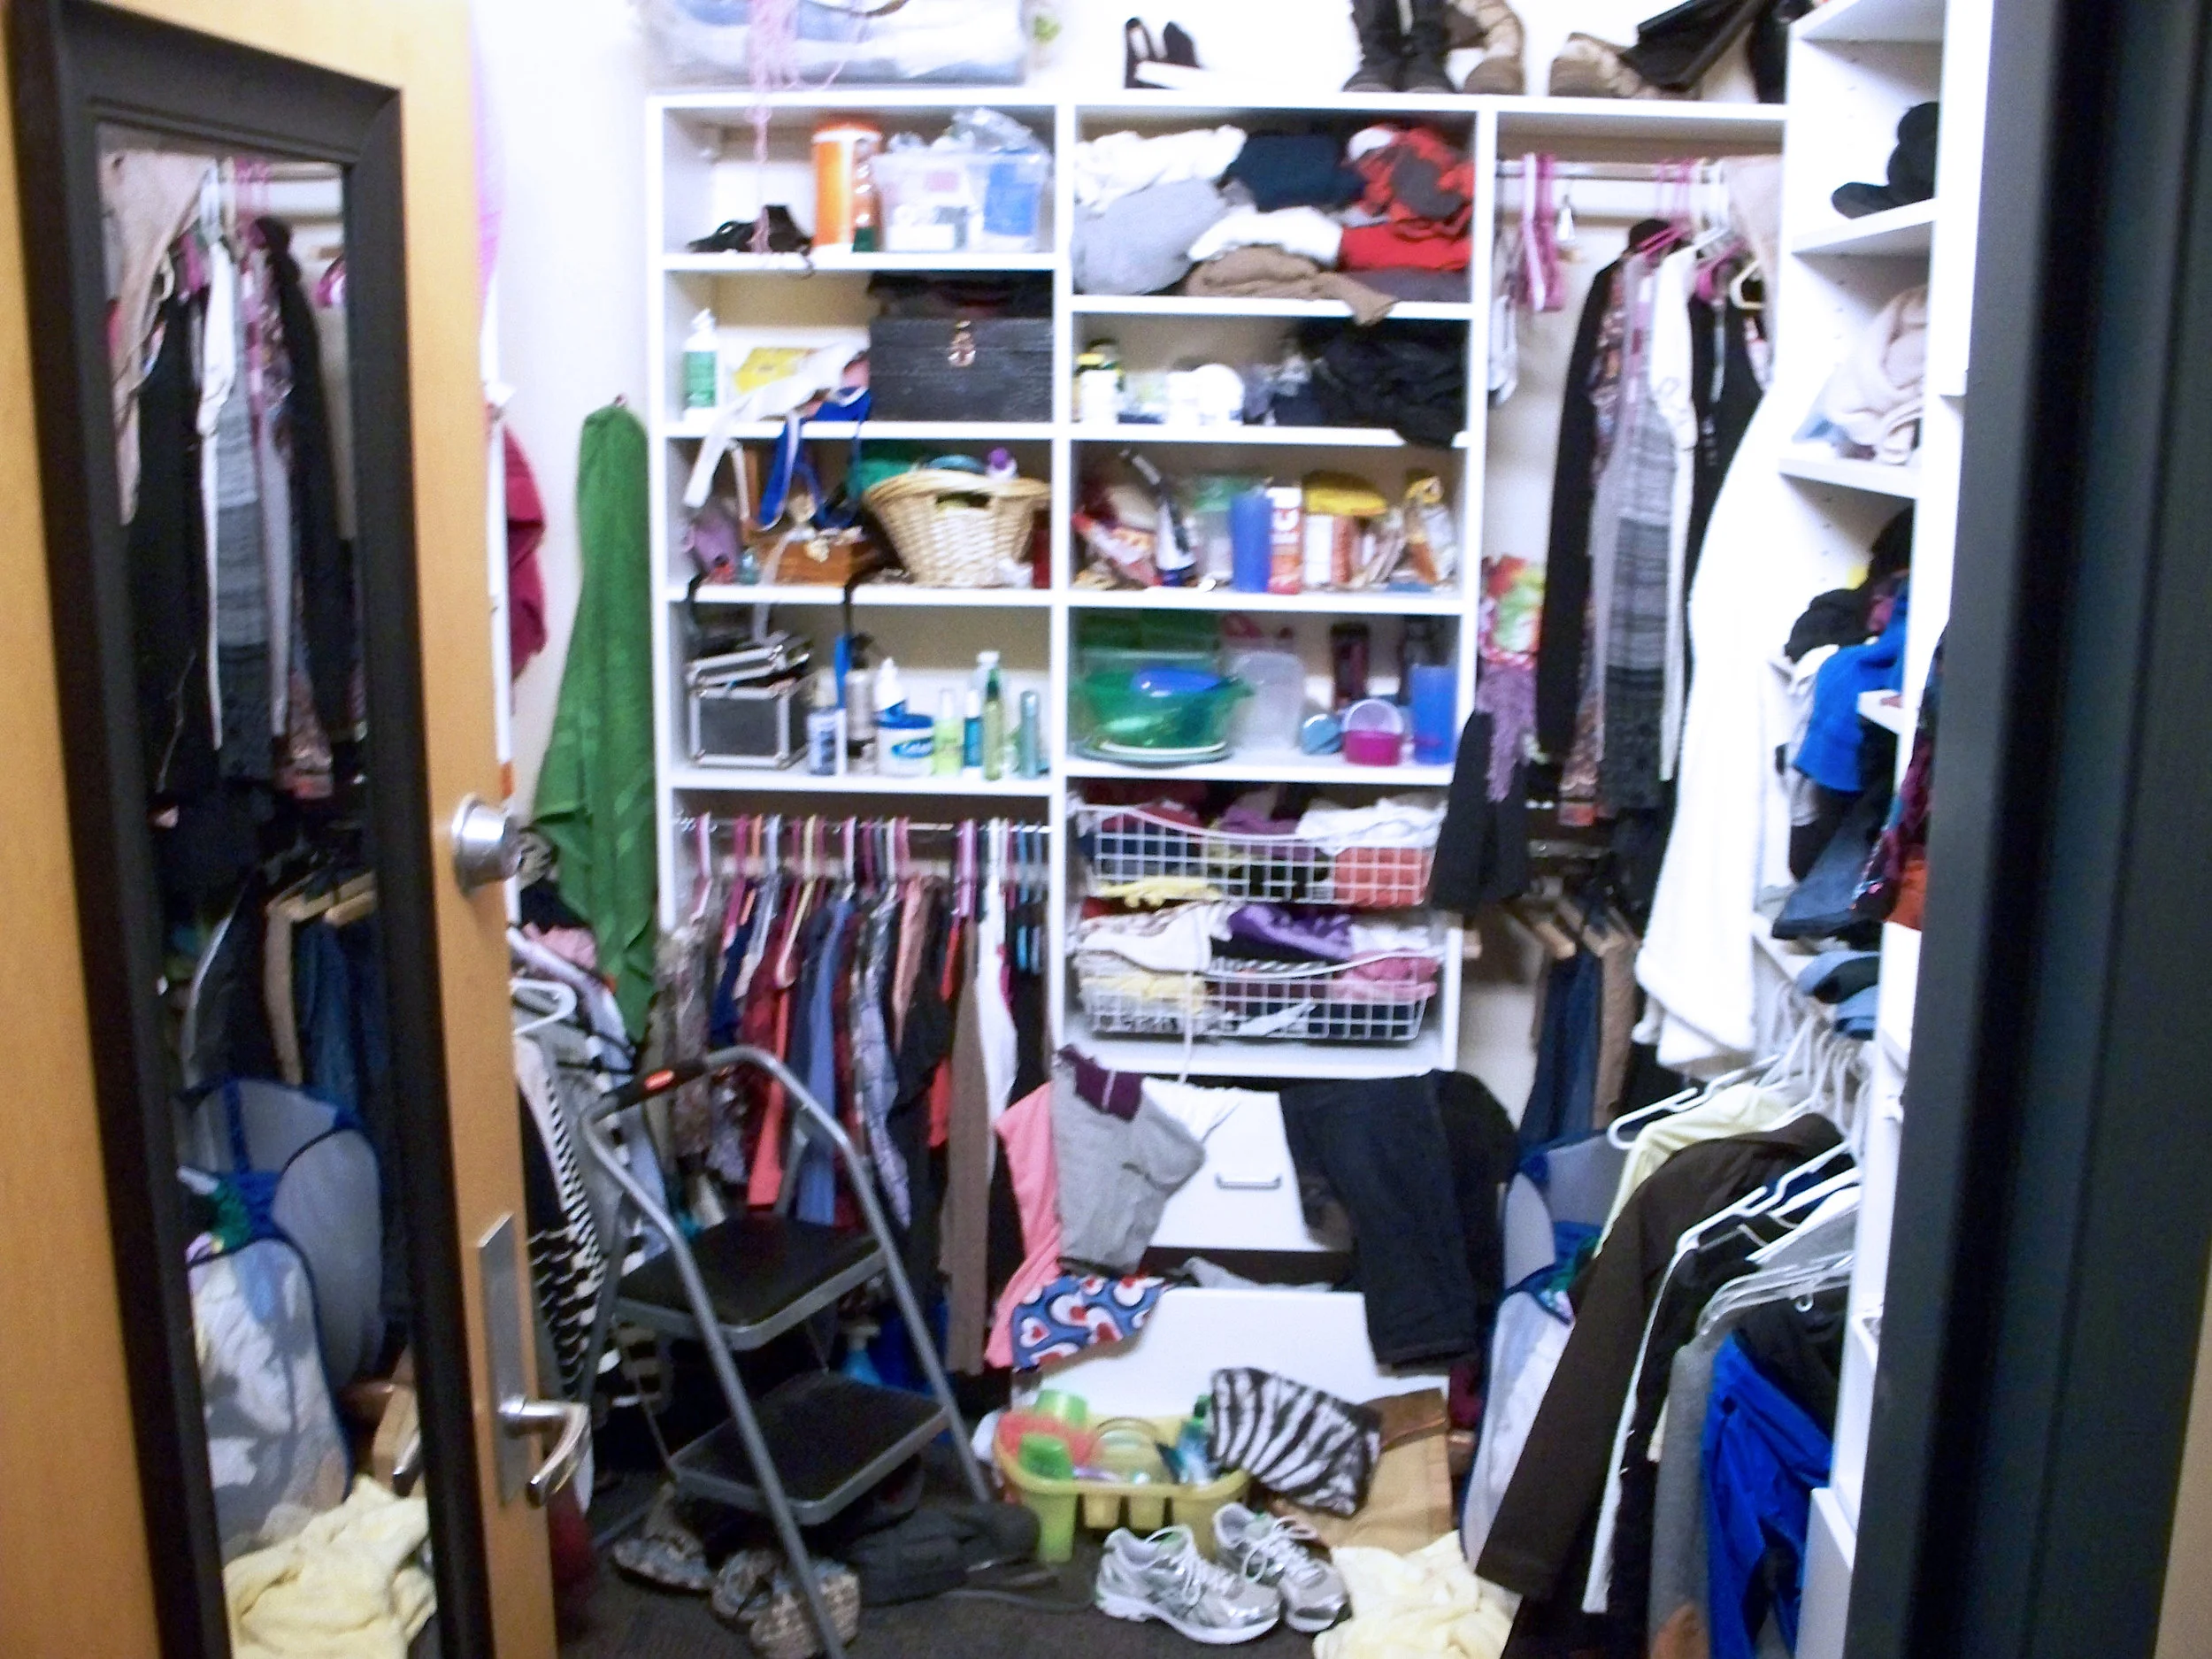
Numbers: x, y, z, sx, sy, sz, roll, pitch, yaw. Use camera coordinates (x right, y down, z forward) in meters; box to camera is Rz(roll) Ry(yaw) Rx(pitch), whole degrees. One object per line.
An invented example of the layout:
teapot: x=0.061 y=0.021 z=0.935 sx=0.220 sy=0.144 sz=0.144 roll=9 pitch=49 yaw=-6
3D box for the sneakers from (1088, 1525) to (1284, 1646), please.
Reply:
sneakers: x=0.111 y=1.142 z=2.933 sx=0.255 sy=0.135 sz=0.129 roll=3 pitch=10 yaw=17

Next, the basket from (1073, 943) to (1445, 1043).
basket: x=0.258 y=0.305 z=3.352 sx=0.442 sy=0.152 sz=0.269 roll=1 pitch=3 yaw=0

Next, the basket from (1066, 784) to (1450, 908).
basket: x=0.285 y=0.046 z=3.314 sx=0.424 sy=0.147 sz=0.274 roll=2 pitch=4 yaw=3

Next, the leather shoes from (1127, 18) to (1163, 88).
leather shoes: x=0.060 y=-1.298 z=3.186 sx=0.043 sy=0.147 sz=0.054 roll=-1 pitch=6 yaw=1

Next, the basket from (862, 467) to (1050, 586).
basket: x=-0.261 y=-0.561 z=3.267 sx=0.224 sy=0.156 sz=0.237 roll=0 pitch=15 yaw=3

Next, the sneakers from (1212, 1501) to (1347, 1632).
sneakers: x=0.271 y=1.149 z=2.984 sx=0.106 sy=0.102 sz=0.219 roll=-10 pitch=12 yaw=-42
